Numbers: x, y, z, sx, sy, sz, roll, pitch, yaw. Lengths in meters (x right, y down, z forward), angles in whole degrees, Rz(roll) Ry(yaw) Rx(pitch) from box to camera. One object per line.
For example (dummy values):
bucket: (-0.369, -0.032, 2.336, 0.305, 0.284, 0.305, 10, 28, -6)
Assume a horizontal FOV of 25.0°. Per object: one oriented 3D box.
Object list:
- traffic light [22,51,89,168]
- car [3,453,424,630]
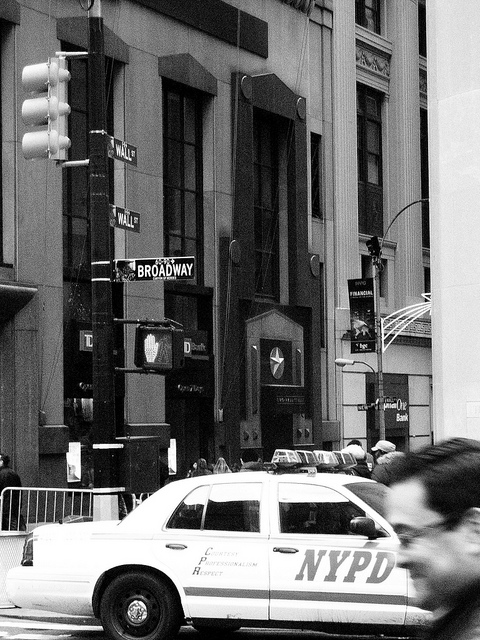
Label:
traffic light: (-1.866, -2.018, 10.231, 0.450, 1.037, 0.438, -1, -5, -7)
car: (-0.169, 1.788, 8.315, 2.960, 1.179, 0.975, -5, -7, 11)
